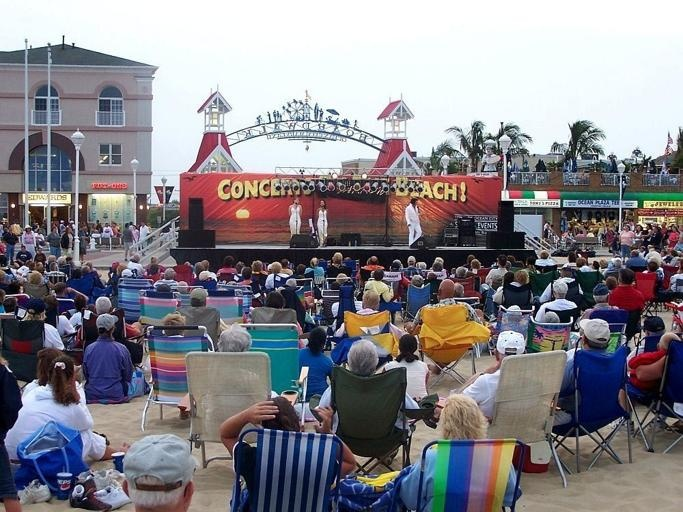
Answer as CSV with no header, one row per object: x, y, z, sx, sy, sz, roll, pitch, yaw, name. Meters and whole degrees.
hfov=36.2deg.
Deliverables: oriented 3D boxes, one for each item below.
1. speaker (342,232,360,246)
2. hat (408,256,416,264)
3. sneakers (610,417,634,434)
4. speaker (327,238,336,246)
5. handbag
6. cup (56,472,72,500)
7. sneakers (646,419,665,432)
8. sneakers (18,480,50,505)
0.249,-0.527,33.097,0.582,0.460,0.330,0,-2,-24,speaker
1.489,0.073,22.335,0.151,0.193,0.264,-1,-4,3,hat
3.776,2.267,14.057,0.216,0.293,0.670,1,-2,12,sneakers
-0.334,-0.459,33.426,0.212,0.258,0.249,-2,2,7,speaker
-3.592,2.503,12.851,0.705,0.833,0.419,-15,4,-12,handbag
-3.369,2.798,12.771,0.189,0.303,0.121,-1,2,-17,cup
4.317,2.313,14.359,0.236,0.109,0.178,-4,5,-36,sneakers
-3.722,2.875,12.681,0.438,0.248,0.186,4,0,0,sneakers
